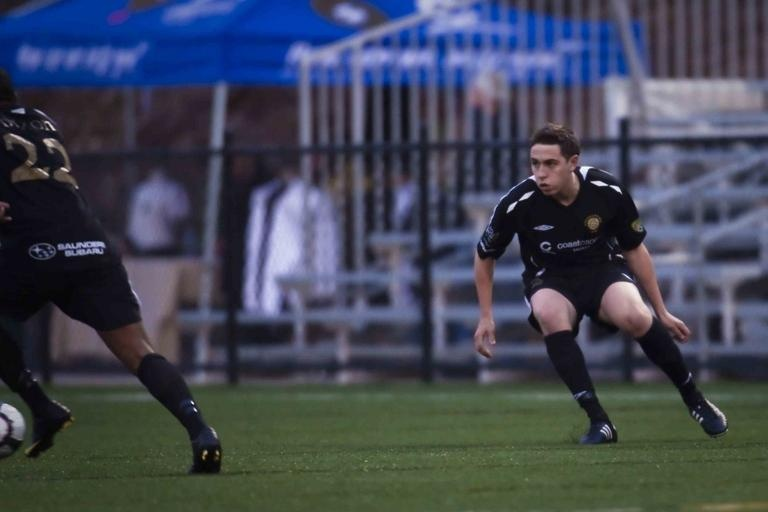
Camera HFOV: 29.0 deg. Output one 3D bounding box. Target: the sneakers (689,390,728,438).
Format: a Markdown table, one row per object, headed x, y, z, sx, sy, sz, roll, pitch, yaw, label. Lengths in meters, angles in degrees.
| x | y | z | sx | sy | sz | roll | pitch | yaw | label |
| --- | --- | --- | --- | --- | --- | --- | --- | --- | --- |
| 2.294 | 1.150 | 10.636 | 0.168 | 0.361 | 0.171 | -47 | -29 | 12 | sneakers |

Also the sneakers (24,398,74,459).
| x | y | z | sx | sy | sz | roll | pitch | yaw | label |
| --- | --- | --- | --- | --- | --- | --- | --- | --- | --- |
| -2.348 | 1.202 | 10.382 | 0.492 | 0.209 | 0.160 | -39 | -12 | 21 | sneakers |

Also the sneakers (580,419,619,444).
| x | y | z | sx | sy | sz | roll | pitch | yaw | label |
| --- | --- | --- | --- | --- | --- | --- | --- | --- | --- |
| 1.501 | 1.249 | 10.417 | 0.306 | 0.106 | 0.119 | 2 | -5 | -38 | sneakers |
